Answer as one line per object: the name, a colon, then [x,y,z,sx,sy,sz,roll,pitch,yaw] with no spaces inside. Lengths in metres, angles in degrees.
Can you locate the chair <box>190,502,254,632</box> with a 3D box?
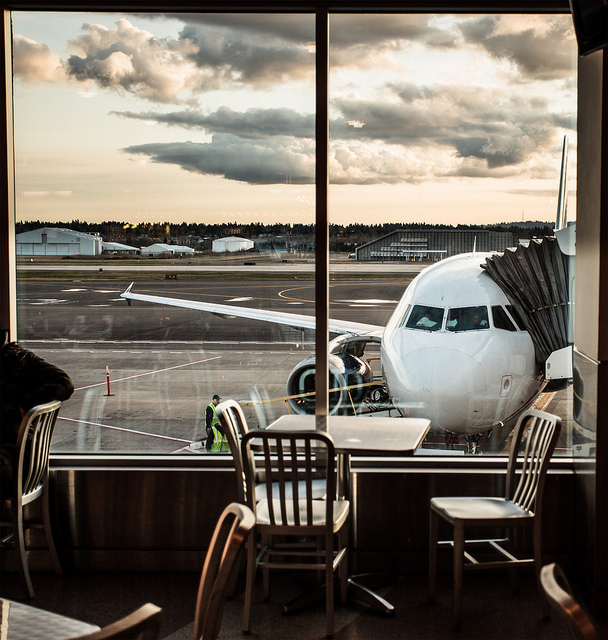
chair: [-0.201,0.625,1.880,0.155,0.263,0.229,-2,9,-7]

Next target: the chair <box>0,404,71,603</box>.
chair: [-1.407,0.877,3.790,0.343,0.972,0.657,-4,9,-19]

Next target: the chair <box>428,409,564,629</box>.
chair: [0.911,0.898,3.587,0.585,0.995,0.791,0,9,10]

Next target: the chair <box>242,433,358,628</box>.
chair: [-0.040,0.913,3.504,0.604,1.019,0.966,-1,9,3]
